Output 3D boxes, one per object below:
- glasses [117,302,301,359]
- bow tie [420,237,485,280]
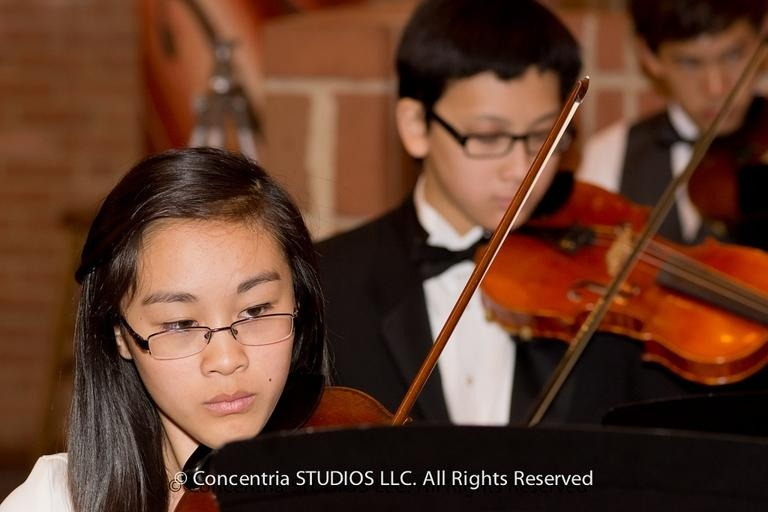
[{"bbox_3d":[-0.366,0.132,1.617,0.319,0.092,0.222,-11,18,-39],"label":"glasses"},{"bbox_3d":[0.192,0.011,2.241,0.221,0.107,0.120,-8,16,-15],"label":"bow tie"}]
